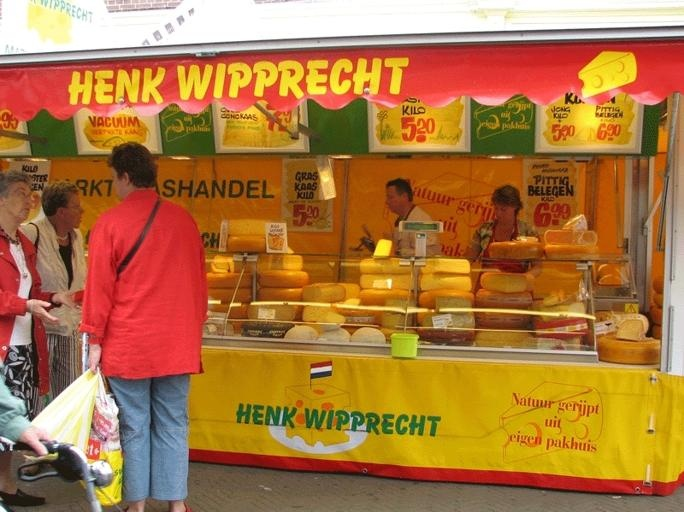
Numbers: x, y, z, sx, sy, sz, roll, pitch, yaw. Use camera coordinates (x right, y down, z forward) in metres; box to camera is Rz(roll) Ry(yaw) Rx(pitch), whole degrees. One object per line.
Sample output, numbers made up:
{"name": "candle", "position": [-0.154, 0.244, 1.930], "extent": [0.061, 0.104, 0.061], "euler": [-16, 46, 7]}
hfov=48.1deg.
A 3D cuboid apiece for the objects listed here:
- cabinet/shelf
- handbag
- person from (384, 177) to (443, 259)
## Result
{"name": "cabinet/shelf", "position": [0.454, 0.352, 5.376], "extent": [2.535, 0.810, 1.300], "euler": [3, 5, 12]}
{"name": "handbag", "position": [-1.300, 0.989, 4.208], "extent": [0.239, 0.790, 0.327], "euler": [1, 7, -3]}
{"name": "person", "position": [0.636, -0.353, 6.979], "extent": [0.420, 0.736, 0.453], "euler": [2, 11, -9]}
